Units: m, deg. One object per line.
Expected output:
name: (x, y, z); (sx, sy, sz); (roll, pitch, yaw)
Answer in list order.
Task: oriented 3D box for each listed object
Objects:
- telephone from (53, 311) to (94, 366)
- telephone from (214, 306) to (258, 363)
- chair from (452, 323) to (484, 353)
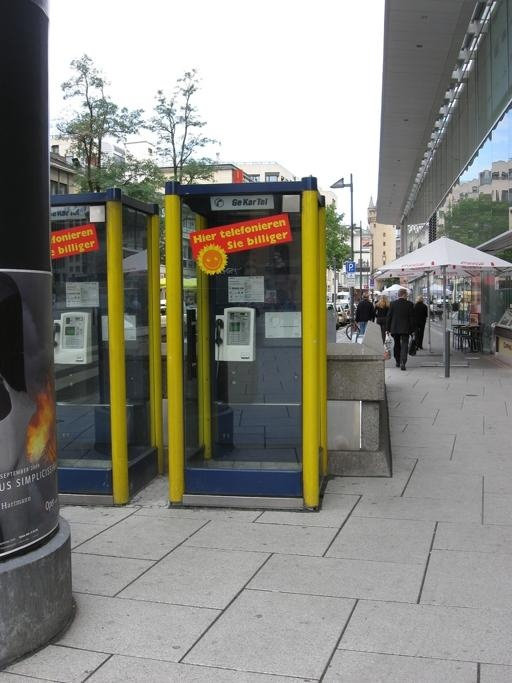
telephone: (-1.671, -0.027, 5.614); (0.289, 0.513, 0.239); (2, 11, -21)
telephone: (-0.198, -0.084, 5.445); (0.330, 0.566, 0.160); (-1, 32, -3)
chair: (6.945, -0.108, 20.008); (0.765, 0.522, 0.892); (0, 4, 13)
